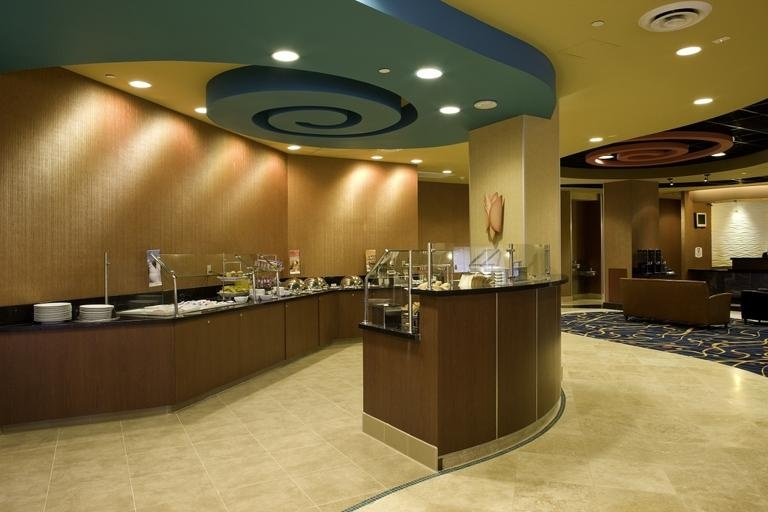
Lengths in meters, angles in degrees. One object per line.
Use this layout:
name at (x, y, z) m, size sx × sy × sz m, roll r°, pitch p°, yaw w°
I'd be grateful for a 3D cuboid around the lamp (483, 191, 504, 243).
lamp at (1.673, -0.559, 7.691) m, size 0.093 × 0.769 × 0.345 m, roll -5°, pitch 9°, yaw -29°

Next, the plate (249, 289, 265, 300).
plate at (-2.108, 0.636, 8.458) m, size 0.199 × 0.143 × 0.200 m, roll 0°, pitch 0°, yaw 22°

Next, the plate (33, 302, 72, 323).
plate at (-4.193, 0.689, 6.419) m, size 0.307 × 0.176 × 0.313 m, roll -1°, pitch -2°, yaw 43°

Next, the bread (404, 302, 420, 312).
bread at (0.308, 0.558, 5.537) m, size 0.125 × 0.121 × 0.266 m, roll -2°, pitch 7°, yaw -11°

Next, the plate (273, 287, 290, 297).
plate at (-1.772, 0.618, 8.817) m, size 0.186 × 0.111 × 0.179 m, roll 0°, pitch -2°, yaw 8°

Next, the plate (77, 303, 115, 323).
plate at (-3.745, 0.738, 6.587) m, size 0.300 × 0.124 × 0.285 m, roll 1°, pitch -3°, yaw 4°
